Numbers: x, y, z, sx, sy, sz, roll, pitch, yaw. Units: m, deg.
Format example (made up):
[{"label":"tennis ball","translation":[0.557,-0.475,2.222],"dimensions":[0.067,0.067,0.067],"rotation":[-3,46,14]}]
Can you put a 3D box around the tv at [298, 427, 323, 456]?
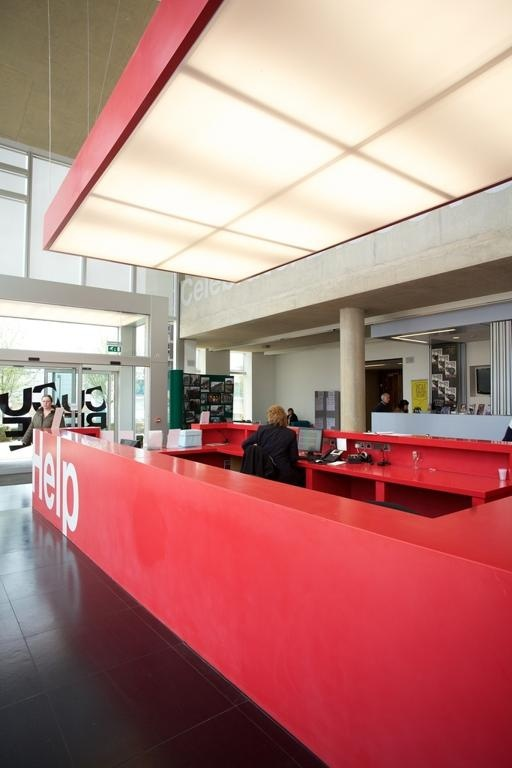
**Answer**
[{"label":"tv","translation":[0.546,0.612,5.489],"dimensions":[0.205,0.261,0.475],"rotation":[-7,1,-29]}]

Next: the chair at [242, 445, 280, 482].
[{"label":"chair","translation":[0.000,0.766,4.898],"dimensions":[0.360,0.332,0.218],"rotation":[-5,1,42]}]

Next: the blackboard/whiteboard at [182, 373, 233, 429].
[{"label":"blackboard/whiteboard","translation":[-1.344,0.422,13.333],"dimensions":[1.311,1.527,0.097],"rotation":[0,-1,-40]}]
